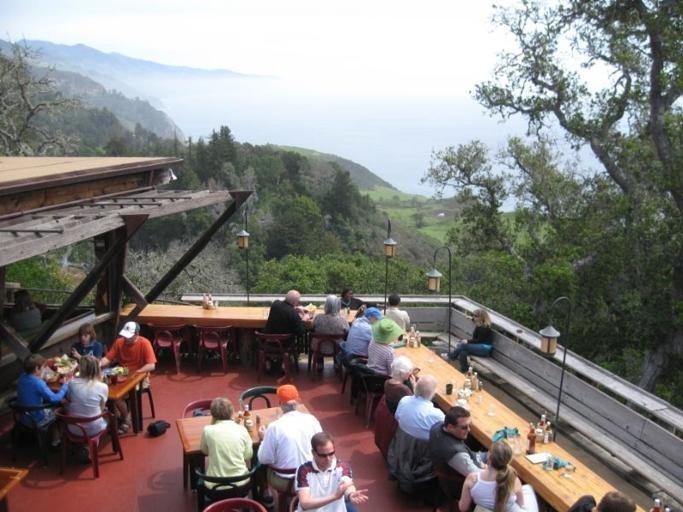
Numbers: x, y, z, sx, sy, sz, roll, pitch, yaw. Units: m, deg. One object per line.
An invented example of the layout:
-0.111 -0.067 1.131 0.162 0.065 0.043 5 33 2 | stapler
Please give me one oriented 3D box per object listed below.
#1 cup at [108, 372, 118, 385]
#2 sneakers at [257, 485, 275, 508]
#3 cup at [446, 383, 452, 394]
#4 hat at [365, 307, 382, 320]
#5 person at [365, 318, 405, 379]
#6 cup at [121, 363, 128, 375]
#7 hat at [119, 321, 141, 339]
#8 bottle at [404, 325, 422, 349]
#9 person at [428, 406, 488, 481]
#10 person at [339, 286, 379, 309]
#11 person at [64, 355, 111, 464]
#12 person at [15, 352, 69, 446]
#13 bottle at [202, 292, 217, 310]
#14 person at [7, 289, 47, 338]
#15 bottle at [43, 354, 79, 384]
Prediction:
-3.415 1.838 7.974 0.128 0.155 0.127 2 8 0 | cup
-1.010 3.252 7.133 0.128 0.189 0.400 0 13 -20 | sneakers
1.661 2.043 8.210 0.113 0.154 0.119 -1 21 1 | cup
0.588 1.039 9.622 0.178 0.151 0.257 14 3 43 | hat
0.688 1.531 8.695 0.446 0.823 0.437 31 41 32 | person
-3.296 1.745 8.097 0.079 0.126 0.121 4 -5 -2 | cup
-3.344 1.164 8.490 0.214 0.213 0.358 14 5 3 | hat
1.336 1.551 9.921 0.314 0.398 0.245 0 7 1 | bottle
1.488 2.432 6.838 0.442 0.846 0.453 -19 48 -13 | person
0.310 0.917 11.398 0.757 0.325 0.404 2 7 28 | person
-3.612 2.205 7.549 0.566 1.593 0.465 0 17 -18 | person
-4.315 2.181 7.719 0.635 1.440 0.435 -1 17 -21 | person
-2.716 0.955 11.072 0.297 0.327 0.298 -8 11 -41 | bottle
-6.055 1.121 10.206 0.716 1.179 0.586 -1 -2 -26 | person
-4.344 1.754 8.261 0.414 0.222 0.554 4 16 -15 | bottle
